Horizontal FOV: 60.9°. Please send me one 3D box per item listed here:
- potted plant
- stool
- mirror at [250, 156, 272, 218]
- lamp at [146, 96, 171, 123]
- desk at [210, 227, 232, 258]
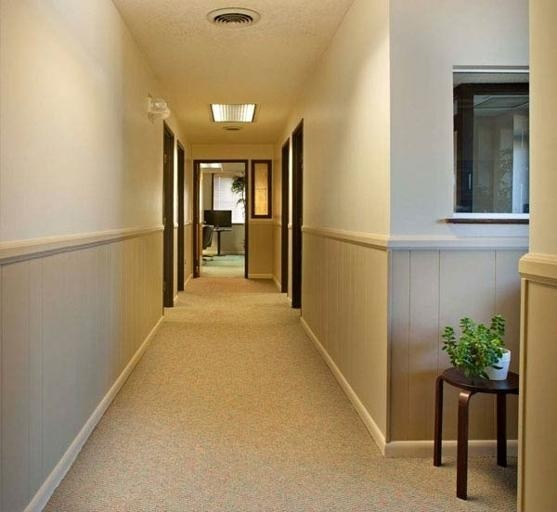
[{"bbox_3d":[0.859,0.394,2.155,0.248,0.341,0.305,-1,3,5],"label":"potted plant"},{"bbox_3d":[0.909,0.815,2.263,0.382,0.501,0.393,9,-12,-34],"label":"stool"},{"bbox_3d":[-0.334,-1.281,9.197,0.403,1.088,0.251,0,3,-5],"label":"mirror"},{"bbox_3d":[-1.132,-1.413,4.464,0.164,0.275,0.430,0,4,-8],"label":"lamp"},{"bbox_3d":[-1.842,-0.471,15.078,0.688,0.890,0.799,1,9,0],"label":"desk"}]
